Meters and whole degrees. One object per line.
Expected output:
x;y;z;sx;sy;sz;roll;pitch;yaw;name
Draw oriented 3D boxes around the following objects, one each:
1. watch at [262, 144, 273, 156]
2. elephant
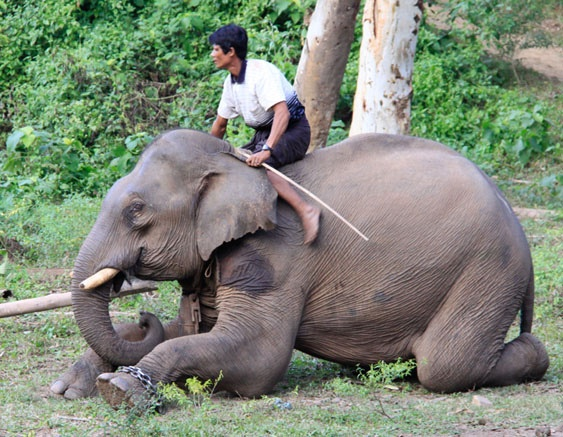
-0.103;-0.513;5.460;0.077;0.053;0.079;12;-14;32;watch
0.256;0.300;5.499;3.127;1.929;0.815;-1;5;-12;elephant
